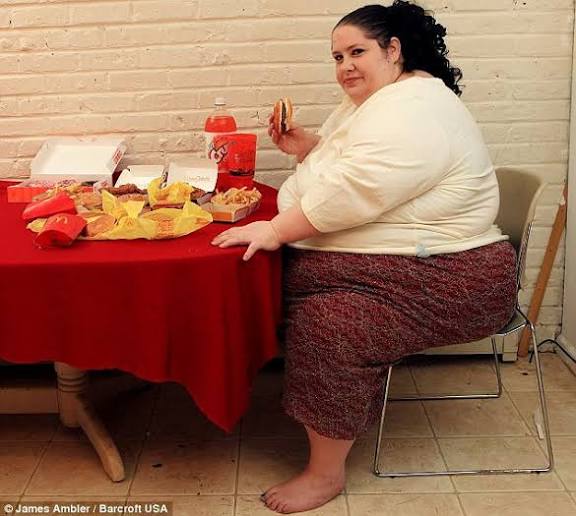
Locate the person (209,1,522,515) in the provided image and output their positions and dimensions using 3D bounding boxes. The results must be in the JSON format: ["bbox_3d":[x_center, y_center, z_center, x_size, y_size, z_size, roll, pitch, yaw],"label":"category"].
[{"bbox_3d":[0.263,-0.008,1.574,0.722,1.361,0.872,9,29,17],"label":"person"}]

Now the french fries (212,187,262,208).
[{"bbox_3d":[-0.147,-0.173,1.601,0.094,0.029,0.093,3,14,15],"label":"french fries"}]

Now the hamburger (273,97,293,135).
[{"bbox_3d":[-0.029,-0.454,1.784,0.042,0.096,0.092,1,22,-26],"label":"hamburger"}]
